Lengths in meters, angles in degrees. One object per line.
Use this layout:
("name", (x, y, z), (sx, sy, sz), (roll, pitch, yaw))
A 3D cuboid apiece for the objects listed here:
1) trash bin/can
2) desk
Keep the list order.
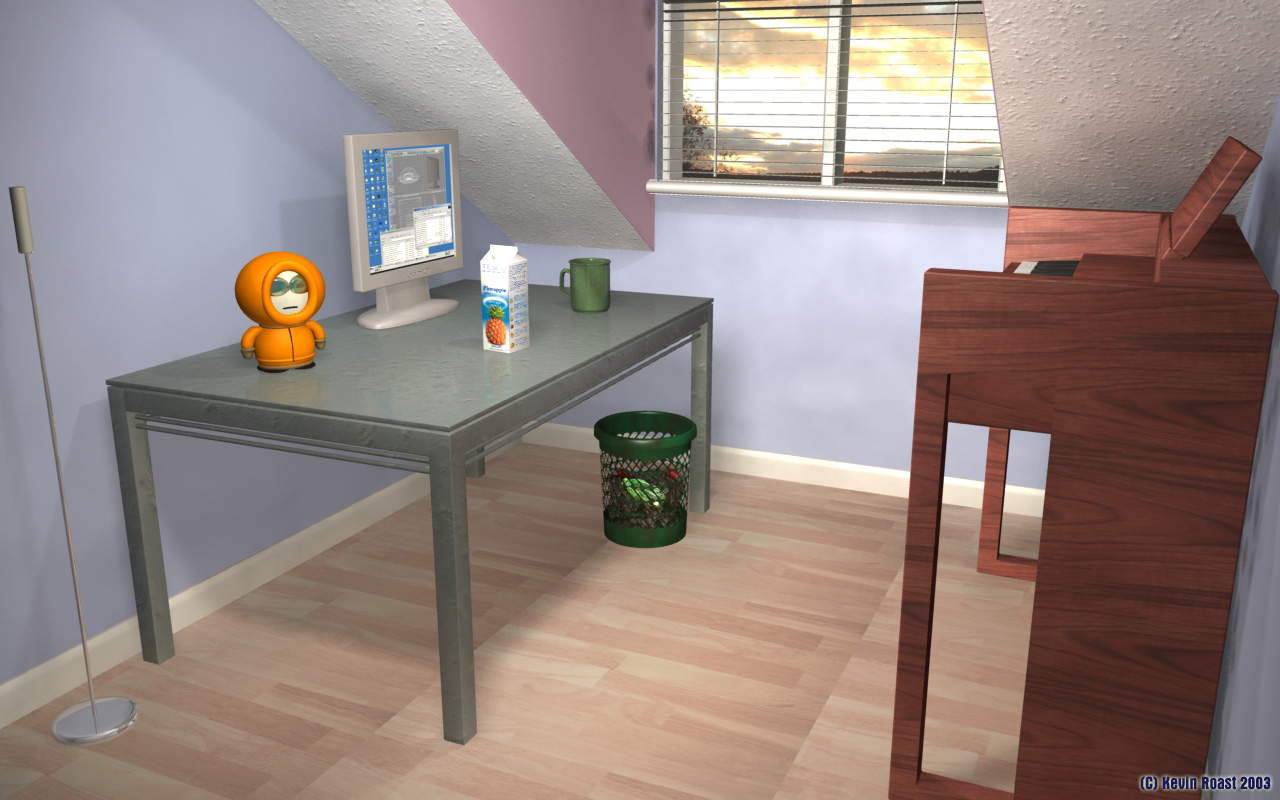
("trash bin/can", (0.026, 0.315, 3.258), (0.414, 0.355, 0.372), (0, 0, -26))
("desk", (-0.581, 0.115, 2.982), (1.099, 0.681, 1.613), (9, 22, 24))
